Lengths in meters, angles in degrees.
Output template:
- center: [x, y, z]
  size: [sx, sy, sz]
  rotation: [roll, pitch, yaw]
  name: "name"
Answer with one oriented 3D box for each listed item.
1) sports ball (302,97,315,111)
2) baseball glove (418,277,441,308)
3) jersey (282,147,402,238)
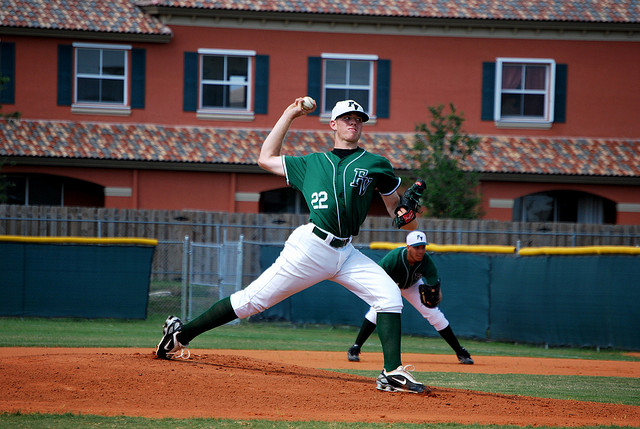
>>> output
- center: [-0.223, -2.716, 33.571]
  size: [0.298, 0.280, 0.284]
  rotation: [16, 36, -12]
  name: "sports ball"
- center: [2.839, 1.960, 35.737]
  size: [0.565, 0.678, 0.359]
  rotation: [-5, -29, 19]
  name: "baseball glove"
- center: [0.633, -0.610, 35.741]
  size: [3.411, 2.031, 0.728]
  rotation: [2, -11, 2]
  name: "jersey"
